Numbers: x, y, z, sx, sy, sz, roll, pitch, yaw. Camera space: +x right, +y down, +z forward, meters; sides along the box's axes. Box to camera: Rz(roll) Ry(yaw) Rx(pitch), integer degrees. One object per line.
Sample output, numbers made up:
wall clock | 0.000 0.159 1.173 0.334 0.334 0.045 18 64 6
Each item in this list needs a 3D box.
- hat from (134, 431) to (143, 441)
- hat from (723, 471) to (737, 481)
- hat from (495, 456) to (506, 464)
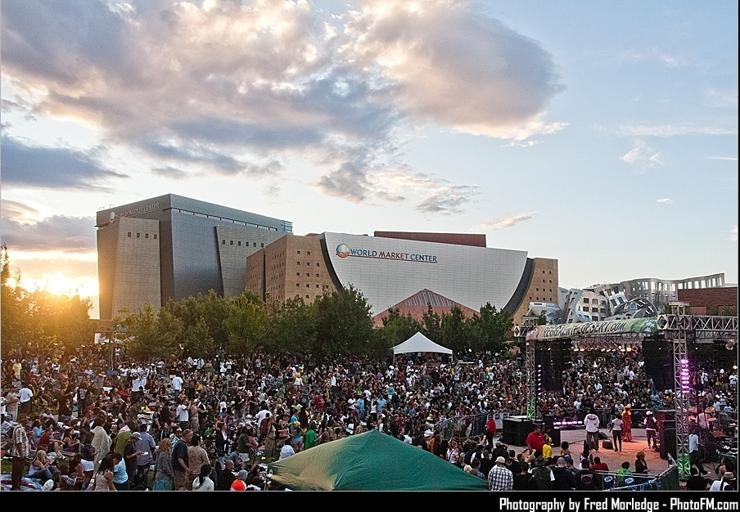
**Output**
hat | -7.614 5.927 19.197 0.248 0.192 0.206 6 -8 -35
hat | 10.699 6.632 17.527 0.294 0.198 0.296 2 3 33
hat | 3.902 6.105 17.564 0.286 0.134 0.304 -1 2 -29
